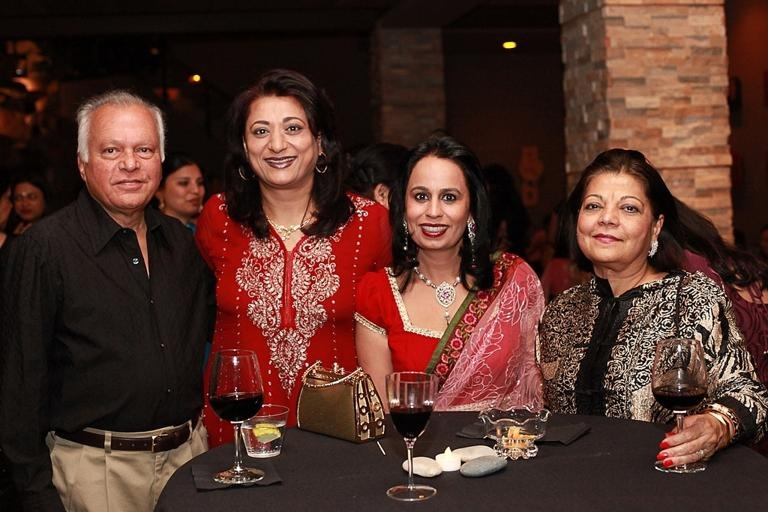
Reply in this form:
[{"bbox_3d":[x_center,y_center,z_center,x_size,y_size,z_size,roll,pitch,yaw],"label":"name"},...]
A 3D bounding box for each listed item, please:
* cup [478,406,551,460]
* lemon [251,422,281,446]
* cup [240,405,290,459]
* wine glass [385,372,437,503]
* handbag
[{"bbox_3d":[0.503,0.667,2.786,0.193,0.102,0.189,-1,-6,0],"label":"cup"},{"bbox_3d":[-0.450,0.684,2.828,0.085,0.052,0.083,-2,7,-4],"label":"lemon"},{"bbox_3d":[-0.475,0.698,2.928,0.186,0.147,0.180,-2,-1,0],"label":"cup"},{"bbox_3d":[0.102,0.621,2.632,0.181,0.395,0.314,-1,8,3],"label":"wine glass"},{"bbox_3d":[-0.185,0.613,3.014,0.128,0.215,0.293,-7,6,-43],"label":"handbag"}]
